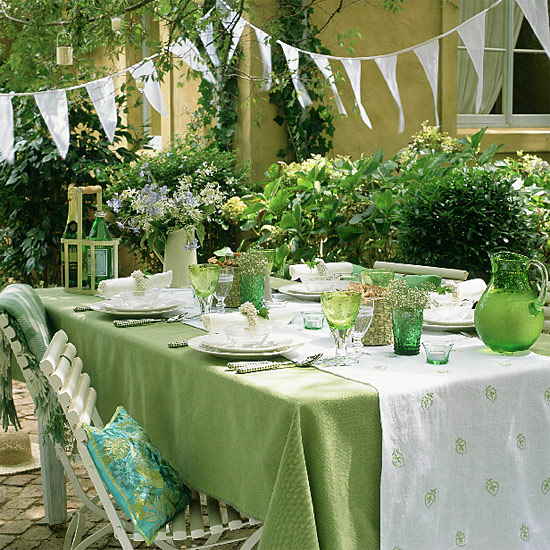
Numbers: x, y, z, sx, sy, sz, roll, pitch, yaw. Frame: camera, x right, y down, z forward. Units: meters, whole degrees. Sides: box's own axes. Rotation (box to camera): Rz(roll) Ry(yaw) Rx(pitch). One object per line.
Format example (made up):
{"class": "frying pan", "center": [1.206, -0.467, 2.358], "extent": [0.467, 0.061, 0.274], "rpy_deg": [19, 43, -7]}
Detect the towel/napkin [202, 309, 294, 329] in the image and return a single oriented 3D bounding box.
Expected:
{"class": "towel/napkin", "center": [-0.086, 0.104, 2.118], "extent": [0.219, 0.068, 0.183], "rpy_deg": [-2, 6, -42]}

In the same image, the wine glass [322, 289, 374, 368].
{"class": "wine glass", "center": [0.177, 0.135, 1.856], "extent": [0.133, 0.172, 0.118], "rpy_deg": [1, 1, 5]}

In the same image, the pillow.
{"class": "pillow", "center": [-0.328, 0.495, 1.829], "extent": [0.072, 0.261, 0.252], "rpy_deg": [-31, 11, 19]}

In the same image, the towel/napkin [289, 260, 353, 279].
{"class": "towel/napkin", "center": [0.174, -0.019, 2.882], "extent": [0.164, 0.051, 0.102], "rpy_deg": [-2, 3, -28]}

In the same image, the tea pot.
{"class": "tea pot", "center": [0.605, 0.075, 1.963], "extent": [0.149, 0.284, 0.160], "rpy_deg": [1, 10, 0]}

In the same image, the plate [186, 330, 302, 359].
{"class": "plate", "center": [-0.075, 0.184, 1.888], "extent": [0.121, 0.019, 0.129], "rpy_deg": [-2, -1, 35]}
